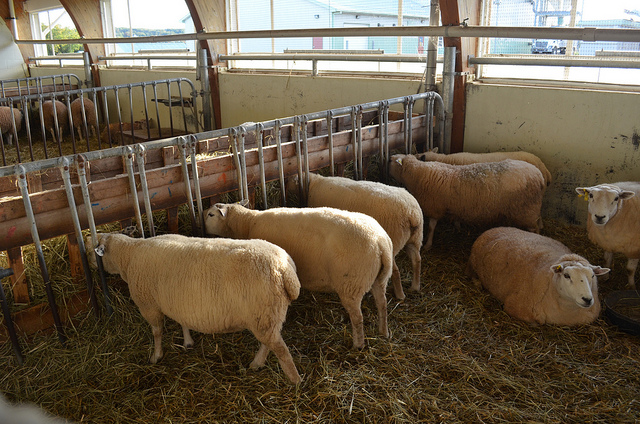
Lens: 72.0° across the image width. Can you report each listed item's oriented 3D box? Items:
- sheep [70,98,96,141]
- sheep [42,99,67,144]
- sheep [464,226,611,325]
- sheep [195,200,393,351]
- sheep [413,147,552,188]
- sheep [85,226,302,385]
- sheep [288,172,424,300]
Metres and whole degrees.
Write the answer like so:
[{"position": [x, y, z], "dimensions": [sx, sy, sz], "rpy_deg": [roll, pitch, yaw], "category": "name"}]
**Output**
[{"position": [-5.494, -2.141, 10.279], "dimensions": [0.558, 1.057, 1.504], "rpy_deg": [-11, 13, -27], "category": "sheep"}, {"position": [-6.195, -2.201, 10.313], "dimensions": [0.606, 1.000, 1.410], "rpy_deg": [-11, 22, -29], "category": "sheep"}, {"position": [2.002, 0.611, 4.158], "dimensions": [0.654, 0.545, 1.243], "rpy_deg": [-10, 17, -7], "category": "sheep"}, {"position": [-0.303, 0.498, 4.245], "dimensions": [2.072, 1.170, 0.692], "rpy_deg": [7, 11, 26], "category": "sheep"}, {"position": [2.000, -0.531, 5.326], "dimensions": [1.302, 0.647, 0.350], "rpy_deg": [6, 17, 15], "category": "sheep"}, {"position": [-0.930, 0.774, 3.632], "dimensions": [1.636, 1.070, 0.487], "rpy_deg": [2, 22, 9], "category": "sheep"}, {"position": [0.303, 0.153, 5.082], "dimensions": [0.635, 1.174, 2.041], "rpy_deg": [-11, 14, -40], "category": "sheep"}]
